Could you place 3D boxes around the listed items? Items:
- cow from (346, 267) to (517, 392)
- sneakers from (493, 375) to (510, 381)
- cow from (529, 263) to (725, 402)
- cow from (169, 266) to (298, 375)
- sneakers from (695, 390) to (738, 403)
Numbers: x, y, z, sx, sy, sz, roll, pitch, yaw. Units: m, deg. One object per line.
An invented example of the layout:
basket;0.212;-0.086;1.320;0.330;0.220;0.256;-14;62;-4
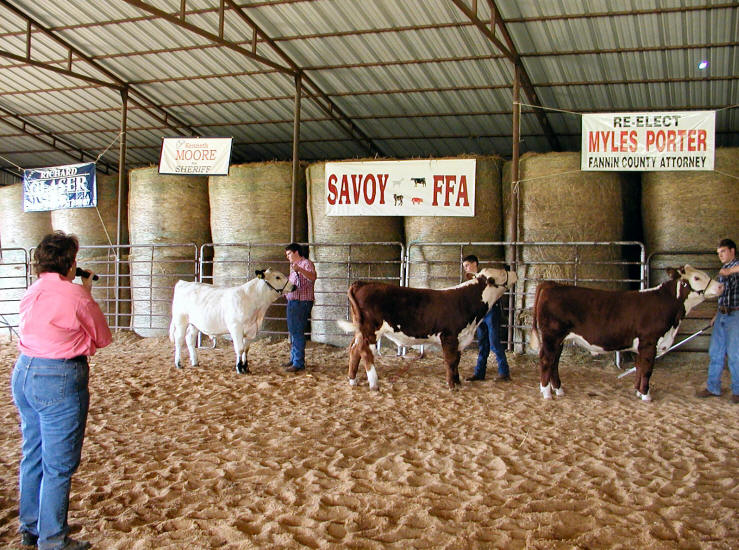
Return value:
cow;0.664;0.572;6.549;2.099;1.180;0.566;-1;1;-12
sneakers;1.514;1.182;6.809;0.173;0.104;0.056;-3;7;27
cow;2.608;0.608;6.131;1.922;1.195;0.556;-2;-3;4
cow;-1.754;0.535;7.237;1.482;1.226;0.523;3;7;20
sneakers;3.508;1.232;6.067;0.389;0.146;0.116;7;15;16
